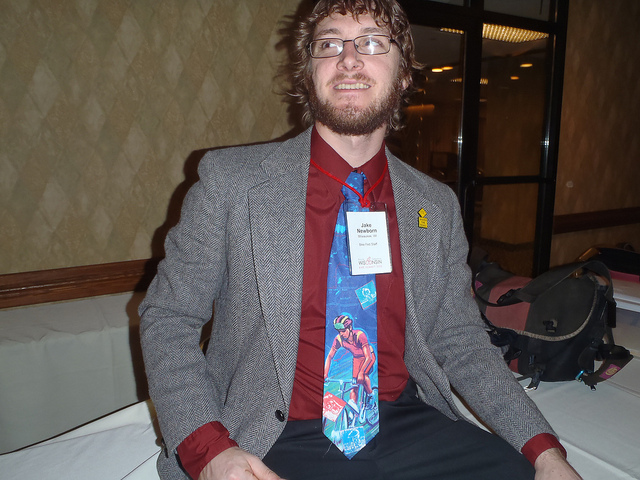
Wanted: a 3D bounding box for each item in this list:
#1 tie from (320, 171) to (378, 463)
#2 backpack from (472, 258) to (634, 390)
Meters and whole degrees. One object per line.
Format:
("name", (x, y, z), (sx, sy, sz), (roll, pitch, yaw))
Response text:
("tie", (0.097, 0.236, 1.513), (0.165, 0.814, 0.296), (-1, 7, 20))
("backpack", (0.955, 0.361, 1.979), (0.194, 0.307, 0.404), (24, -3, -21))
